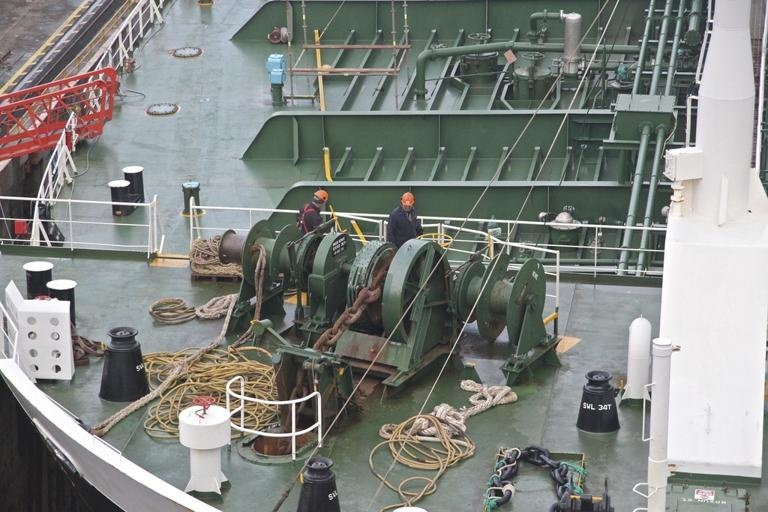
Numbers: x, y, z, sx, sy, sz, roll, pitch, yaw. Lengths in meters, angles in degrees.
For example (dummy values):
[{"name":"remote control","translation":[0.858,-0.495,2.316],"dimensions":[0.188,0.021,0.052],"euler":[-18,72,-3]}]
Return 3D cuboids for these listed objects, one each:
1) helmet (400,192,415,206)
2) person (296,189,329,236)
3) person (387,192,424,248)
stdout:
[{"name":"helmet","translation":[0.466,-1.155,31.098],"dimensions":[0.302,0.290,0.338],"euler":[2,2,-2]},{"name":"person","translation":[-1.551,-0.885,31.742],"dimensions":[0.542,0.944,0.991],"euler":[5,6,-4]},{"name":"person","translation":[0.423,-0.719,31.181],"dimensions":[0.732,1.091,0.889],"euler":[5,6,0]}]
